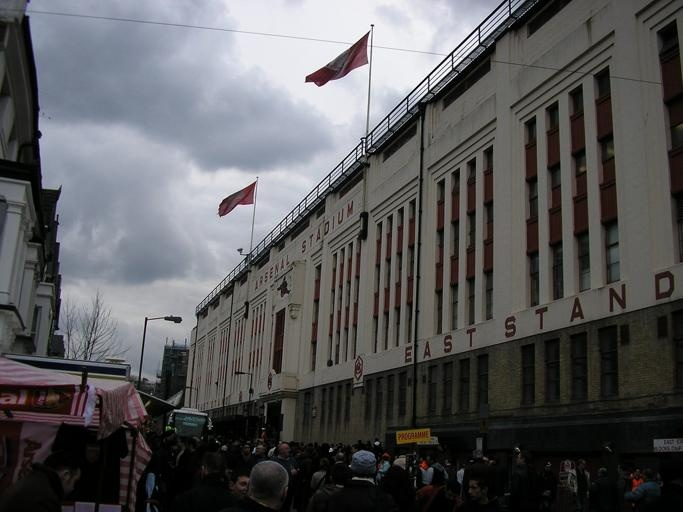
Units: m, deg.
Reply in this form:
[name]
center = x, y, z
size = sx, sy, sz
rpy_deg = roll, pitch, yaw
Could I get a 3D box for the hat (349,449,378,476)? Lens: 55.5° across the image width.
[hat]
center = 0.304, 2.982, 9.341
size = 0.337, 0.364, 0.307
rpy_deg = 3, -17, 2
